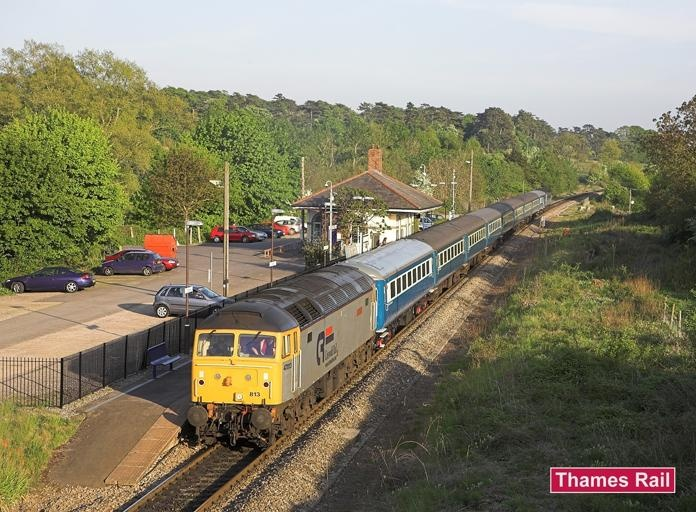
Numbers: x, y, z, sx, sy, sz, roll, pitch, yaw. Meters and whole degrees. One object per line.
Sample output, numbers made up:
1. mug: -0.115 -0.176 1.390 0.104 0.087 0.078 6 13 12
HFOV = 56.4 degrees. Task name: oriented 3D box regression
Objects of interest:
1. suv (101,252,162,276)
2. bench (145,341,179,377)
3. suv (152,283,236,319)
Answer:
1. suv: -15.160 0.638 46.648 3.222 1.580 1.944 3 -1 -1
2. bench: -7.370 4.246 26.199 0.654 1.277 1.817 -2 1 6
3. suv: -8.458 2.744 34.468 3.818 1.928 2.076 -1 4 4
